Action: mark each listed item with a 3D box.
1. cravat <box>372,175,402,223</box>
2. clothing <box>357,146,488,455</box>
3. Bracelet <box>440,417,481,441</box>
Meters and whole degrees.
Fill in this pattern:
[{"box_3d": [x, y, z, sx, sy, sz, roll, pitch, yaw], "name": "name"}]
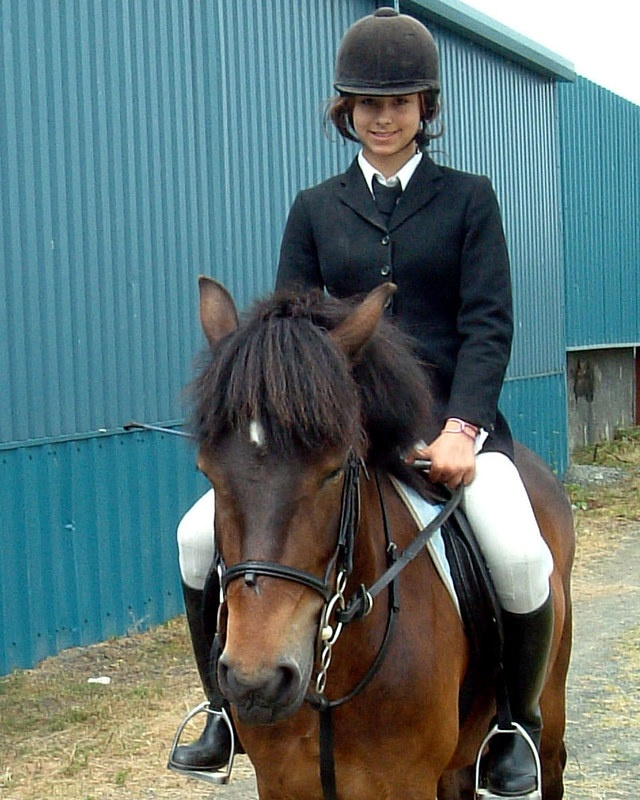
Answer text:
[{"box_3d": [0.249, -0.751, 4.685, 0.124, 0.170, 0.068, 2, -2, -1], "name": "cravat"}, {"box_3d": [0.344, -0.387, 4.546, 0.683, 0.975, 0.331, 1, 2, 0], "name": "clothing"}, {"box_3d": [0.488, 0.107, 4.283, 0.075, 0.038, 0.095, 8, -8, 26], "name": "Bracelet"}]
